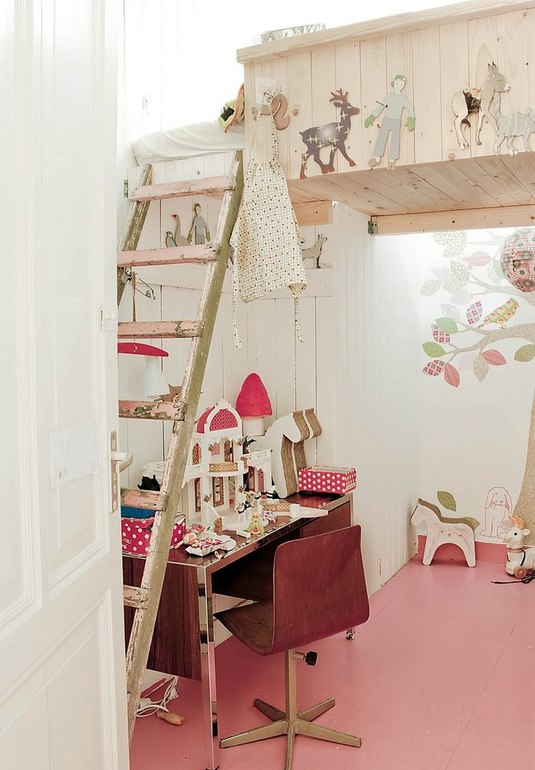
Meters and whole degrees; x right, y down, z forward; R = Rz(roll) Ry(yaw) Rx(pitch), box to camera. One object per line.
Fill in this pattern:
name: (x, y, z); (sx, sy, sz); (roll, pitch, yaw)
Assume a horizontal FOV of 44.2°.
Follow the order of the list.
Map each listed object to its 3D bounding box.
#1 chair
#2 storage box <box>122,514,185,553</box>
chair: (0.075, 0.890, 2.421); (0.511, 0.794, 0.468); (-1, 0, -36)
storage box: (-0.406, 0.515, 2.349); (0.143, 0.146, 0.294); (0, 0, 14)
